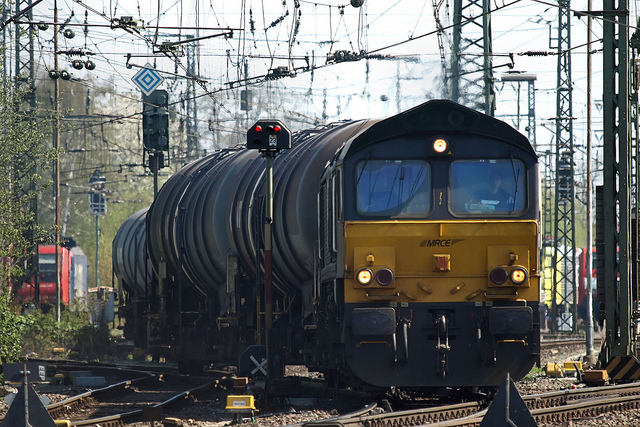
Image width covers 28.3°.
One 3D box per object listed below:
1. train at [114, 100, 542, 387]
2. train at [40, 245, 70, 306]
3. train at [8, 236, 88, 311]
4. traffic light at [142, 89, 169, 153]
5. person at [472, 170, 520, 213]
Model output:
[{"bbox_3d":[-0.144,1.171,39.549,4.439,8.438,14.462,2,-6,-40],"label":"train"},{"bbox_3d":[-13.653,2.953,65.288,1.506,3.048,4.961,-1,-5,-12],"label":"train"},{"bbox_3d":[-13.941,3.321,69.423,2.147,2.937,7.486,0,-7,1],"label":"train"},{"bbox_3d":[-6.148,-3.509,47.897,0.972,2.495,0.783,0,0,6],"label":"traffic light"},{"bbox_3d":[4.982,-0.601,35.693,1.039,0.979,0.391,1,-5,-2],"label":"person"}]
